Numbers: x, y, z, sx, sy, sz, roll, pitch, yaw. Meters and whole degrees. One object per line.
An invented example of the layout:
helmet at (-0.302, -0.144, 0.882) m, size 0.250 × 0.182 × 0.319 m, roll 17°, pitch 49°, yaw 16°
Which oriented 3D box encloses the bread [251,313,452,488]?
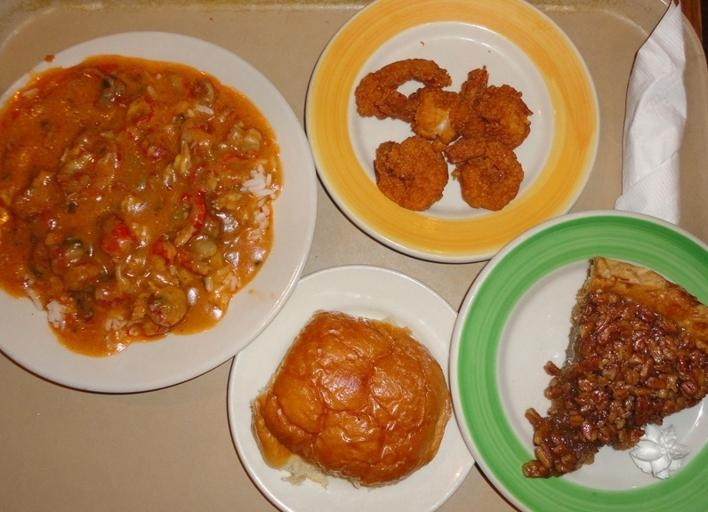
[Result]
bread at (0.036, 0.511, 2.473) m, size 0.637 × 0.201 × 0.593 m, roll 27°, pitch 77°, yaw 9°
